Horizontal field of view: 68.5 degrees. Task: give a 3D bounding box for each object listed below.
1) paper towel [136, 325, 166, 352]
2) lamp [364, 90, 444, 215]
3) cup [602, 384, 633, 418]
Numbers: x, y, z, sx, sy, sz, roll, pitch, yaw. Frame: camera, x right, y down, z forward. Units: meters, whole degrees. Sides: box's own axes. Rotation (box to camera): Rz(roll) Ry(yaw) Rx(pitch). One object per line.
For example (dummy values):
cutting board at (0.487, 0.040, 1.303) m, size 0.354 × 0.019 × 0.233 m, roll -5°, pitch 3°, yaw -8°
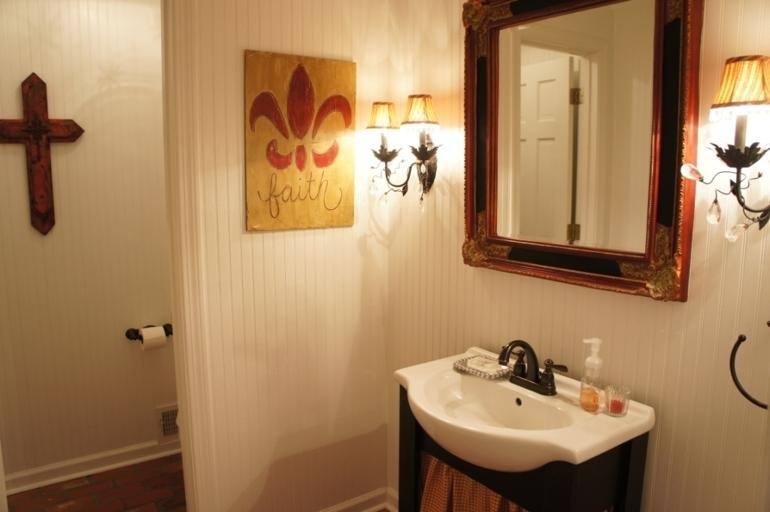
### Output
paper towel at (-1.441, 0.500, 3.542) m, size 0.162 × 0.129 × 0.168 m, roll -8°, pitch 10°, yaw -23°
lamp at (0.123, -0.549, 3.003) m, size 0.427 × 0.530 × 0.296 m, roll 3°, pitch 8°, yaw 38°
cup at (0.961, 0.617, 2.349) m, size 0.105 × 0.124 × 0.114 m, roll 9°, pitch -18°, yaw 3°
